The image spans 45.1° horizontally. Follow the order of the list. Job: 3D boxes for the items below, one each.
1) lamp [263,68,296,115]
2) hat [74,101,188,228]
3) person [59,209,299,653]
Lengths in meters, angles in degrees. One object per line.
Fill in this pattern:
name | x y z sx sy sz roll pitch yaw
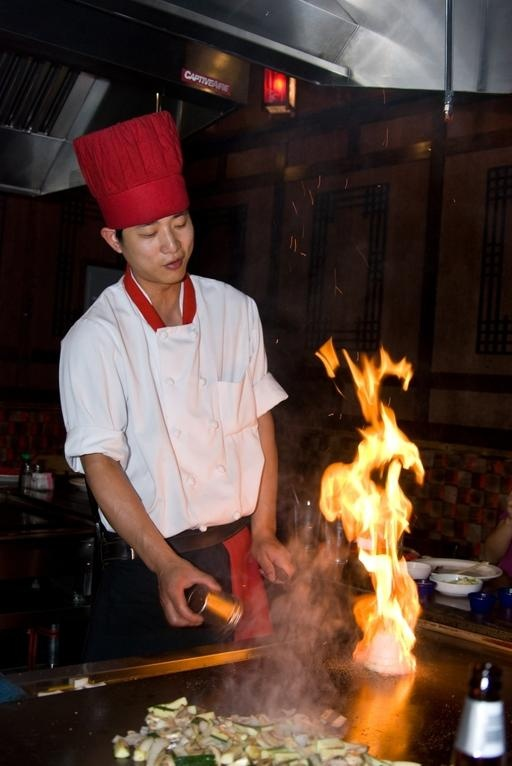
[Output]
lamp | 0.190 -2.377 5.069 0.252 0.350 0.345 5 -4 -4
hat | -0.314 -0.559 1.623 0.283 0.268 0.304 -15 18 11
person | -0.156 0.092 1.559 0.504 1.013 0.606 3 -4 27
